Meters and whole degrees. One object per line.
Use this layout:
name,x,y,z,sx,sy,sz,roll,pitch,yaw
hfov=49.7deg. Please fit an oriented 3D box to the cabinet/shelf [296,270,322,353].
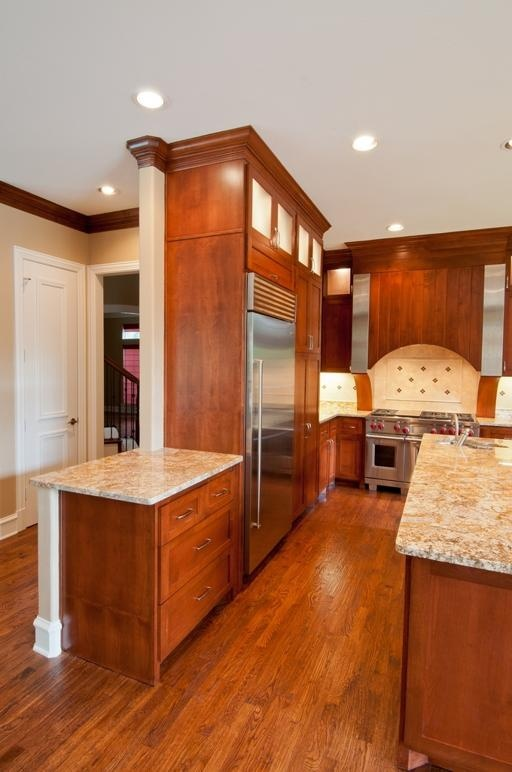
cabinet/shelf,0.378,-0.550,4.052,0.214,0.625,0.641,0,3,15

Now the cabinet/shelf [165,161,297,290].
cabinet/shelf,-0.184,-0.811,3.027,0.318,0.440,0.613,0,3,20

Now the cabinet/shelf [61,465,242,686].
cabinet/shelf,-0.462,0.774,2.631,0.484,0.764,0.843,3,5,22

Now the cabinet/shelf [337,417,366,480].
cabinet/shelf,0.898,0.606,5.311,0.278,0.623,0.150,3,7,13

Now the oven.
oven,1.469,0.615,5.156,0.868,0.794,0.540,6,7,23
